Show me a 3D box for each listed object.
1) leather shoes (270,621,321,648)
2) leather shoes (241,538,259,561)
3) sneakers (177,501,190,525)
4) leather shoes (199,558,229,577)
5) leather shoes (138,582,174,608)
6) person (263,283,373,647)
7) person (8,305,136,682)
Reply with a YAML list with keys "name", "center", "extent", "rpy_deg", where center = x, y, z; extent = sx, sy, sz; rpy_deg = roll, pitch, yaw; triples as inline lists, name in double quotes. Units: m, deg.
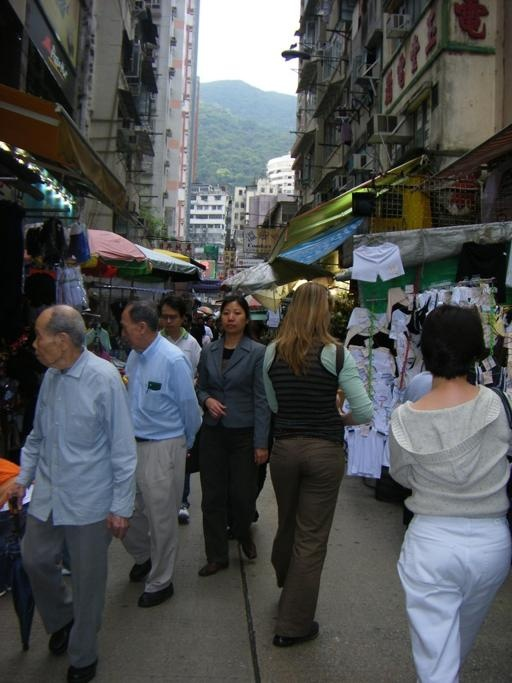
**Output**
- name: "leather shoes"
  center: [0.197, 1.429, 3.022]
  extent: [0.235, 0.109, 0.084]
  rpy_deg: [-9, 12, -41]
- name: "leather shoes"
  center: [-0.040, 1.427, 4.205]
  extent: [0.099, 0.159, 0.161]
  rpy_deg: [-10, 10, -1]
- name: "sneakers"
  center: [-0.586, 1.400, 5.021]
  extent: [0.143, 0.170, 0.403]
  rpy_deg: [0, -8, 0]
- name: "leather shoes"
  center: [-0.259, 1.442, 3.917]
  extent: [0.190, 0.085, 0.075]
  rpy_deg: [2, 4, -43]
- name: "leather shoes"
  center: [-0.566, 1.419, 3.435]
  extent: [0.070, 0.079, 0.200]
  rpy_deg: [3, -2, 30]
- name: "person"
  center: [0.312, 0.580, 3.143]
  extent: [0.543, 1.792, 0.462]
  rpy_deg: [1, -1, -2]
- name: "person"
  center: [-0.773, 0.633, 2.606]
  extent: [0.461, 1.235, 0.323]
  rpy_deg: [1, -1, 32]
